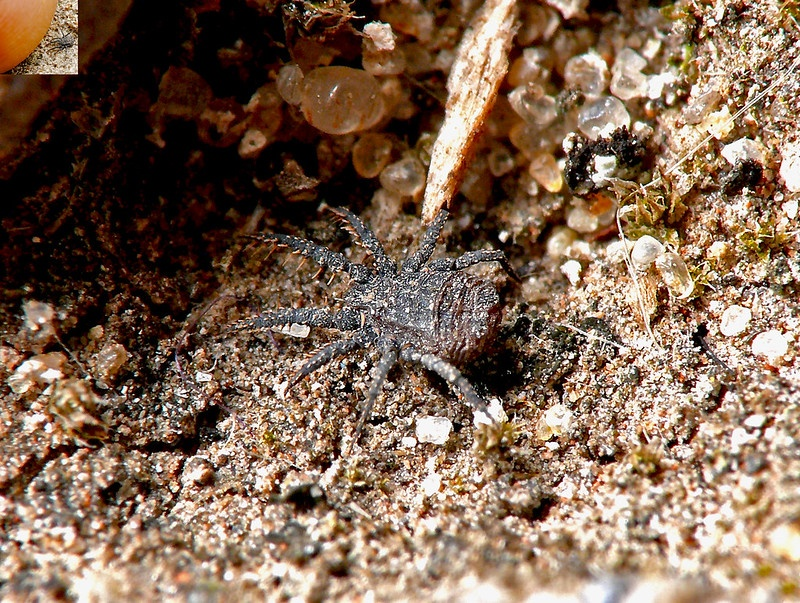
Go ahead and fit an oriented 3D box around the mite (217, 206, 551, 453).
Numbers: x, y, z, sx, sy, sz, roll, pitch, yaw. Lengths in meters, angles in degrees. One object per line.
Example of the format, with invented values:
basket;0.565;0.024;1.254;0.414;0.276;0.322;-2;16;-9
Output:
mite;-0.122;0.032;5.433;2.054;0.553;1.842;27;51;20
